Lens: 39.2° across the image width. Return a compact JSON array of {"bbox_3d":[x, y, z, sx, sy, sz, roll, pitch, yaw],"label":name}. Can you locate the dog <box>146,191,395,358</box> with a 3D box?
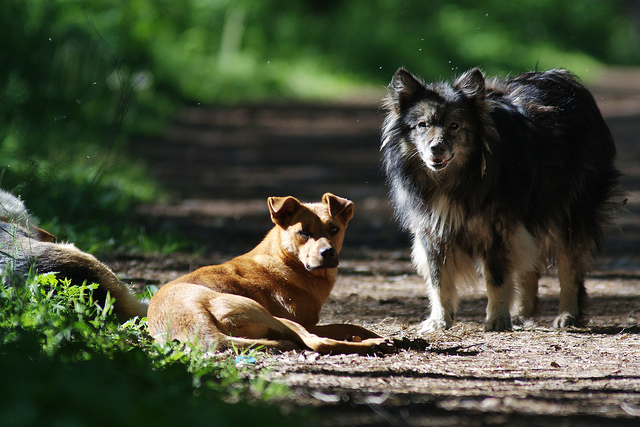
[{"bbox_3d":[-0.480,0.795,9.084,1.755,1.324,1.960,-3,-9,17],"label":"dog"}]

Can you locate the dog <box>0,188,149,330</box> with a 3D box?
[{"bbox_3d":[-2.626,0.528,9.259,1.710,1.133,1.041,4,13,8],"label":"dog"}]
